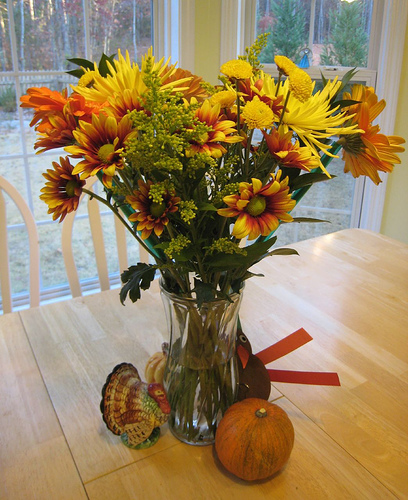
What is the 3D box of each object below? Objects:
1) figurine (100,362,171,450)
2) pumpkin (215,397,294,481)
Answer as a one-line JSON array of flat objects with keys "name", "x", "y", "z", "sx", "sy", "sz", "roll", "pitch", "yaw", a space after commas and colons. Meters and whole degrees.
[{"name": "figurine", "x": -0.099, "y": 0.222, "z": 0.540, "sx": 0.078, "sy": 0.115, "sz": 0.072, "roll": 21, "pitch": 29, "yaw": 39}, {"name": "pumpkin", "x": 0.067, "y": 0.237, "z": 0.511, "sx": 0.107, "sy": 0.089, "sz": 0.097, "roll": 9, "pitch": 26, "yaw": 11}]
